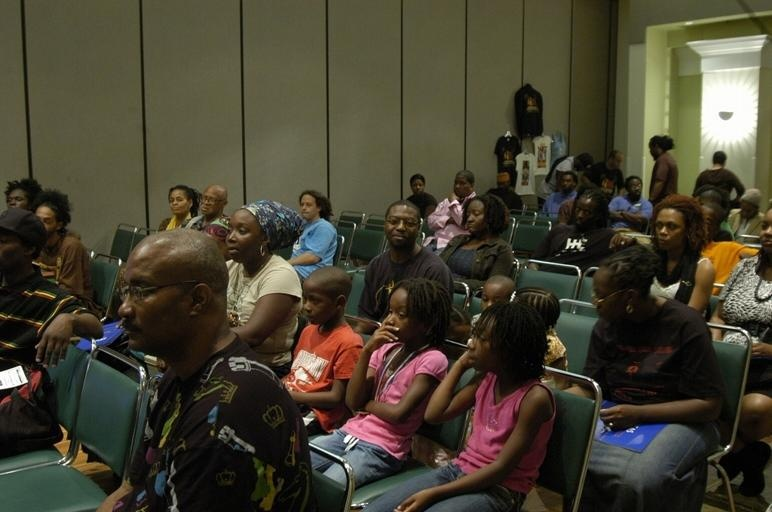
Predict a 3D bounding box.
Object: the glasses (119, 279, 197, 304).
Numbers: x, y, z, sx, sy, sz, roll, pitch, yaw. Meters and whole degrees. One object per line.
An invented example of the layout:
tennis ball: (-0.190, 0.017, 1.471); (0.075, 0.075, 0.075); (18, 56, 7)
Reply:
glasses: (-0.830, 0.128, 2.134); (0.273, 0.064, 0.056); (-1, 8, 2)
